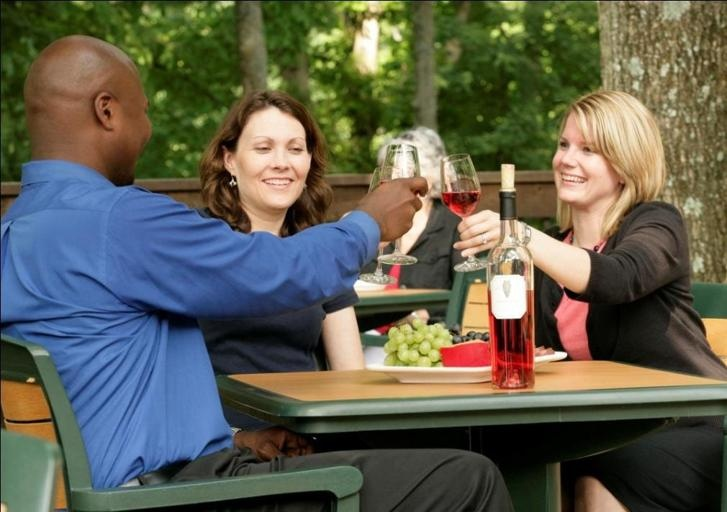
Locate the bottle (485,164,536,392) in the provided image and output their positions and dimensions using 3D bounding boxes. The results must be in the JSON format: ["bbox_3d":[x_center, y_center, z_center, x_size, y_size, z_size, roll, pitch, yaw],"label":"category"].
[{"bbox_3d":[0.407,0.060,2.140,0.172,0.543,0.169,-1,5,0],"label":"bottle"}]

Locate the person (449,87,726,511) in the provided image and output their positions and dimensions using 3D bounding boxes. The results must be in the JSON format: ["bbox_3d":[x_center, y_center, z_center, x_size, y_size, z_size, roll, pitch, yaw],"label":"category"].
[{"bbox_3d":[0.867,0.159,2.850,0.788,1.719,0.930,0,0,-7],"label":"person"}]

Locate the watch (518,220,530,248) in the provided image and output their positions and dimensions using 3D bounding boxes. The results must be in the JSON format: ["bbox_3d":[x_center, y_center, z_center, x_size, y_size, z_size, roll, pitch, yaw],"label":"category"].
[{"bbox_3d":[0.476,-0.064,2.343,0.028,0.070,0.055,5,14,19],"label":"watch"}]

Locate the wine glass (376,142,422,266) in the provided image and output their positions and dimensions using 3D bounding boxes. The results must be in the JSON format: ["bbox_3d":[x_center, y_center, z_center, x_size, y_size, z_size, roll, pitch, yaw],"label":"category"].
[{"bbox_3d":[0.108,-0.175,2.703,0.140,0.459,0.124,-4,11,-30],"label":"wine glass"}]

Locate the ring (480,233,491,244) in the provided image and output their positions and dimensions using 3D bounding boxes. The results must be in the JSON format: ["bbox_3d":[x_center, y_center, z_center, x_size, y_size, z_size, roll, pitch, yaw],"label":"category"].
[{"bbox_3d":[0.383,-0.058,2.506,0.029,0.027,0.009,1,12,1],"label":"ring"}]

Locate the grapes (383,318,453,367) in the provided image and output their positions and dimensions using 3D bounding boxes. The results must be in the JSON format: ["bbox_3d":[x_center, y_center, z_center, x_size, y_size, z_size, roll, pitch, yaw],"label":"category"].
[{"bbox_3d":[0.177,0.254,2.367,0.141,0.161,0.217,7,7,28],"label":"grapes"}]
